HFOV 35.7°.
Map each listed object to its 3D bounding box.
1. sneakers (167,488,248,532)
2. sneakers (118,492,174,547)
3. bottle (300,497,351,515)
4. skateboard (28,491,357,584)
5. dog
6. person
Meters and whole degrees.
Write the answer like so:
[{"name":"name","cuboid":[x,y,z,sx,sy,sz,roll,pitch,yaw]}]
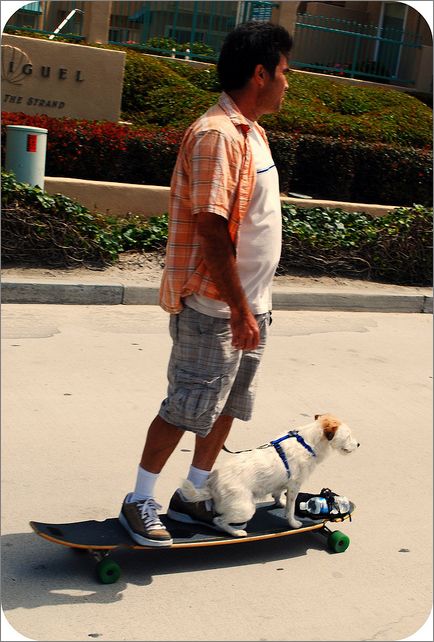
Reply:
[{"name":"sneakers","cuboid":[-0.024,0.774,2.776,0.384,0.138,0.131,5,6,0]},{"name":"sneakers","cuboid":[-0.276,0.758,2.555,0.097,0.104,0.269,7,5,-35]},{"name":"bottle","cuboid":[0.475,0.797,2.948,0.176,0.062,0.088,1,3,-10]},{"name":"skateboard","cuboid":[-0.015,0.822,2.704,1.395,0.169,0.423,2,5,-26]},{"name":"dog","cuboid":[0.205,0.638,2.791,0.822,0.416,0.263,-2,16,-24]},{"name":"person","cuboid":[0.033,-0.171,2.610,0.525,2.016,0.585,10,9,-14]}]
